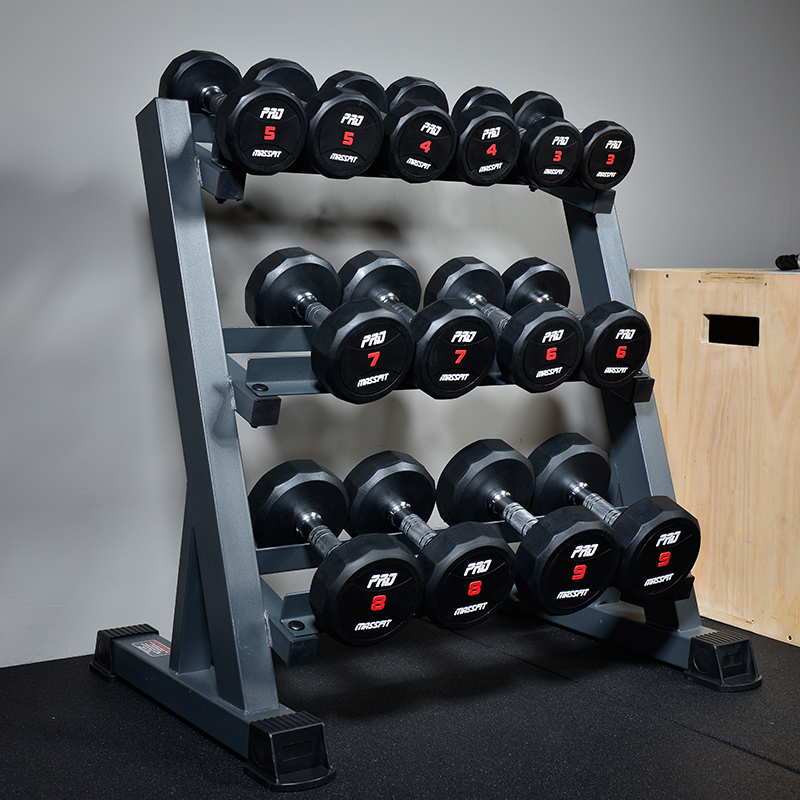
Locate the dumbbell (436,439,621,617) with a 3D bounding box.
[{"bbox_3d":[0.230,0.229,1.370,0.199,0.175,0.318,-11,26,-22],"label":"dumbbell"}]

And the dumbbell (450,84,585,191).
[{"bbox_3d":[0.286,-0.530,1.489,0.122,0.113,0.238,0,38,-6],"label":"dumbbell"}]

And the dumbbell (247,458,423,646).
[{"bbox_3d":[-0.109,0.240,1.213,0.208,0.255,0.330,0,1,-22],"label":"dumbbell"}]

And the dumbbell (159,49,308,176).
[{"bbox_3d":[-0.271,-0.460,1.209,0.153,0.139,0.332,-1,17,-30],"label":"dumbbell"}]

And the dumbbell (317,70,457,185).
[{"bbox_3d":[-0.017,-0.429,1.269,0.144,0.124,0.213,24,20,31],"label":"dumbbell"}]

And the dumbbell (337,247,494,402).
[{"bbox_3d":[0.012,-0.155,1.366,0.164,0.167,0.344,-9,35,-33],"label":"dumbbell"}]

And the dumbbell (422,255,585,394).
[{"bbox_3d":[0.163,-0.126,1.445,0.161,0.147,0.350,-12,23,-35],"label":"dumbbell"}]

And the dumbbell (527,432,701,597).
[{"bbox_3d":[0.337,0.223,1.407,0.163,0.160,0.344,2,25,12],"label":"dumbbell"}]

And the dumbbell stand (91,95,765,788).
[{"bbox_3d":[0.120,-0.019,1.454,1.091,1.018,0.779,-2,-4,-25],"label":"dumbbell stand"}]

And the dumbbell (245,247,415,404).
[{"bbox_3d":[-0.120,-0.129,1.262,0.143,0.133,0.306,21,5,-32],"label":"dumbbell"}]
